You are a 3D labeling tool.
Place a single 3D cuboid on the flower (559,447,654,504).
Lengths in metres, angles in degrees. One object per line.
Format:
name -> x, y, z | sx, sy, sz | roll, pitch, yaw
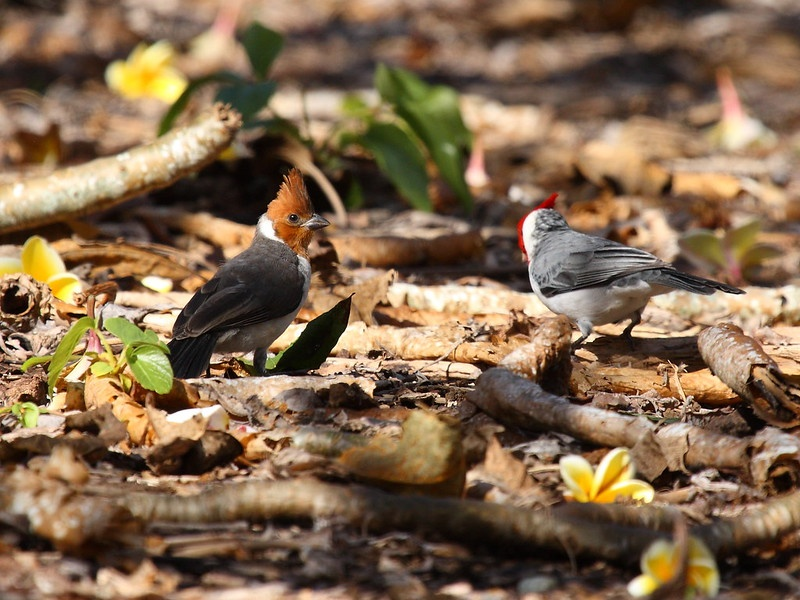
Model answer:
flower -> 0.779, 0.681, 3.101 | 0.306, 0.109, 0.221 | -8, 75, -9
